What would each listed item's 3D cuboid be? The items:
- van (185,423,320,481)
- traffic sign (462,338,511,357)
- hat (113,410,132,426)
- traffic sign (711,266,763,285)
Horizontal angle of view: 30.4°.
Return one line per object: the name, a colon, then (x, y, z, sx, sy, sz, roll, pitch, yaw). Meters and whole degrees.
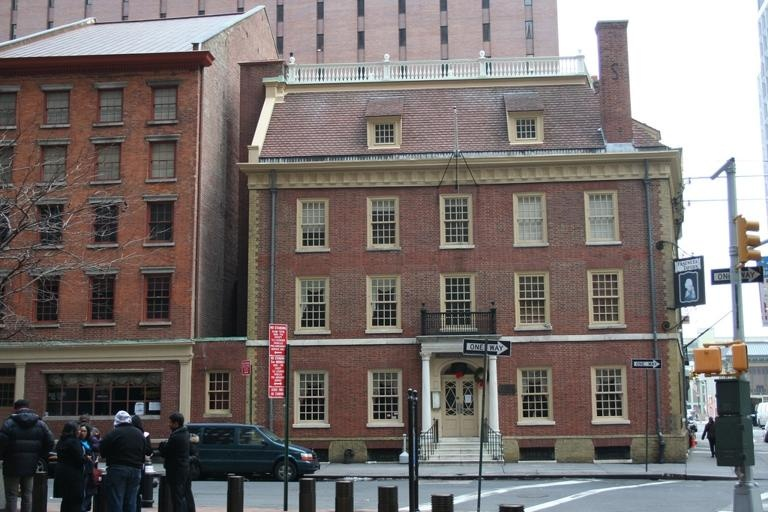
van: (-6.173, 8.855, 63.903, 6.195, 1.896, 2.731, -2, -10, 6)
traffic sign: (3.864, 3.453, 53.727, 1.372, 0.719, 1.479, 7, -14, -40)
hat: (-9.573, 5.940, 51.636, 0.600, 0.562, 0.753, -1, -11, -9)
traffic sign: (13.779, 0.772, 54.883, 1.980, 0.625, 0.840, -4, -11, 8)
